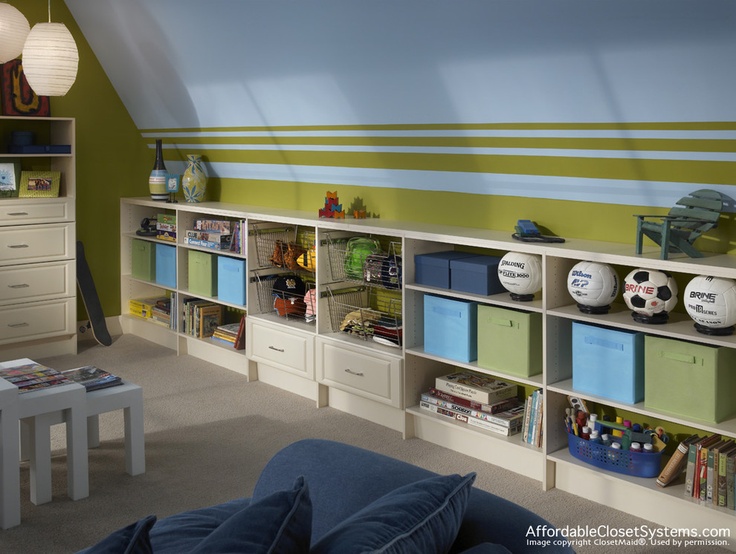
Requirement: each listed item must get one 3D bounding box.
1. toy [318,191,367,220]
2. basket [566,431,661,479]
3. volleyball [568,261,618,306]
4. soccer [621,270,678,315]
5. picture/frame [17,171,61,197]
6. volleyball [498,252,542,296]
[{"bbox_3d":[-0.178,-0.510,4.218,0.312,0.151,0.221,5,8,32],"label":"toy"},{"bbox_3d":[1.239,0.886,2.991,0.199,0.118,0.440,-9,9,-43],"label":"basket"},{"bbox_3d":[1.107,0.006,2.959,0.210,0.225,0.207,-7,12,-39],"label":"volleyball"},{"bbox_3d":[1.335,0.076,2.782,0.222,0.225,0.113,2,6,23],"label":"soccer"},{"bbox_3d":[-2.793,-0.783,4.980,0.267,0.179,0.027,-1,4,-33],"label":"picture/frame"},{"bbox_3d":[0.786,-0.012,3.230,0.242,0.255,0.232,7,-2,-9],"label":"volleyball"}]
